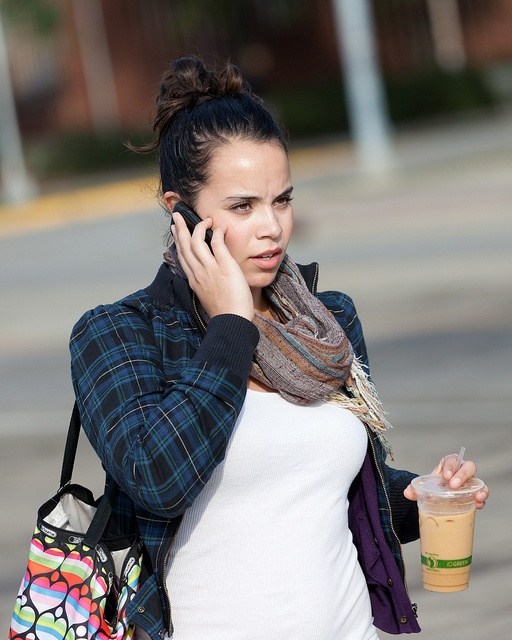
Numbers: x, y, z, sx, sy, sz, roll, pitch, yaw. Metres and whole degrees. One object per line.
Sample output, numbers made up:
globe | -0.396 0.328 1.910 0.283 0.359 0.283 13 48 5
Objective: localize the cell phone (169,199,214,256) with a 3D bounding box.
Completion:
cell phone | -0.165 -0.251 1.913 0.127 0.021 0.182 -14 42 9
